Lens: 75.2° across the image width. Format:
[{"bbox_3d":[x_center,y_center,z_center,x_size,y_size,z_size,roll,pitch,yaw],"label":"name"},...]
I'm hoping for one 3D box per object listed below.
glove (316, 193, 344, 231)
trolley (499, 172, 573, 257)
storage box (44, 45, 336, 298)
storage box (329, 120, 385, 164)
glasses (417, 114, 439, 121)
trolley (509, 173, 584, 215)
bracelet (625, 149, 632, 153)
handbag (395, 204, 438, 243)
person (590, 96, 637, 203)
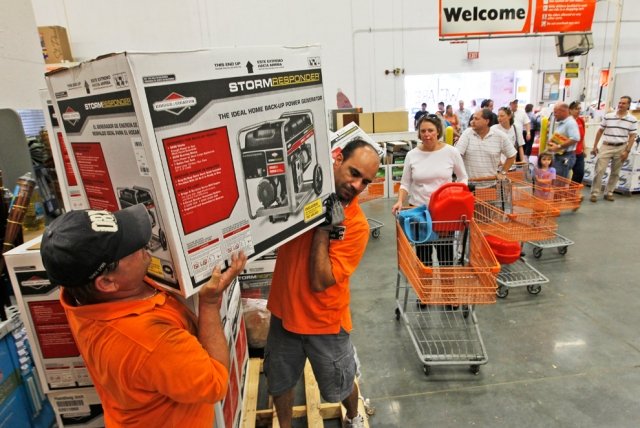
[{"bbox_3d":[0.078,-0.017,2.572,0.080,0.189,0.190,5,33,47],"label":"glove"},{"bbox_3d":[2.827,-0.028,5.776,1.060,1.025,0.700,8,-9,16],"label":"trolley"},{"bbox_3d":[-0.649,-0.356,2.705,1.390,1.240,1.404,-21,24,-39],"label":"storage box"},{"bbox_3d":[0.254,-0.518,2.900,0.339,0.225,0.376,0,21,12],"label":"storage box"},{"bbox_3d":[1.236,-1.112,4.771,0.191,0.056,0.256,-3,20,4],"label":"glasses"},{"bbox_3d":[3.399,-0.356,6.306,0.916,0.558,0.482,4,-4,25],"label":"trolley"},{"bbox_3d":[5.862,-1.192,7.933,0.066,0.069,0.018,-1,40,-12],"label":"bracelet"},{"bbox_3d":[0.965,0.054,4.216,0.303,0.179,0.429,-9,29,4],"label":"handbag"},{"bbox_3d":[5.579,-1.212,7.919,0.827,1.944,0.612,-2,21,6],"label":"person"}]
